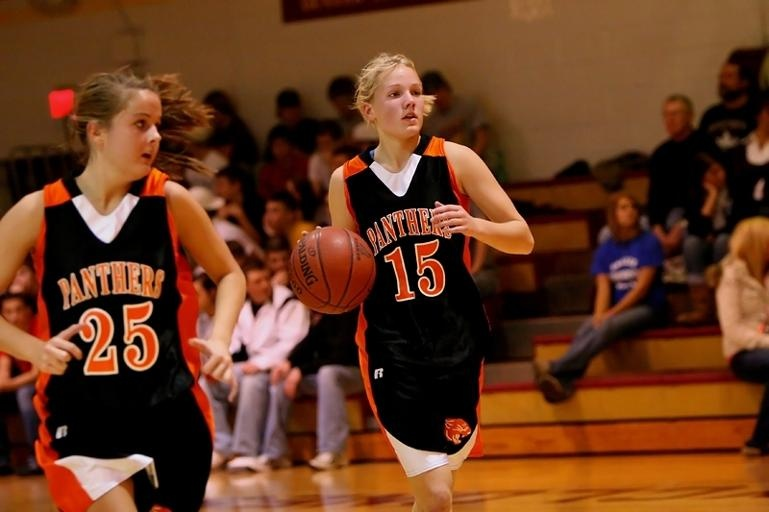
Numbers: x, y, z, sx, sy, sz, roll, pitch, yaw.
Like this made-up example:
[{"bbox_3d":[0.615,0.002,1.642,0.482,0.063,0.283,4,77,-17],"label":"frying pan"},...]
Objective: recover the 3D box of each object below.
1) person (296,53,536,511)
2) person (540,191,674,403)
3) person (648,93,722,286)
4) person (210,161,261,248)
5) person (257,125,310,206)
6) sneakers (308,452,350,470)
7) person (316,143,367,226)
[{"bbox_3d":[0.172,0.069,3.539,0.608,1.995,0.587,-8,4,-29],"label":"person"},{"bbox_3d":[1.401,0.279,5.161,0.801,1.318,0.365,-4,4,18],"label":"person"},{"bbox_3d":[1.826,-0.467,4.899,0.432,1.020,0.181,-4,4,20],"label":"person"},{"bbox_3d":[-1.321,-0.435,7.046,0.359,0.327,0.838,14,16,-22],"label":"person"},{"bbox_3d":[-0.978,-0.862,7.943,0.454,0.957,0.338,3,51,0],"label":"person"},{"bbox_3d":[-0.403,1.487,5.776,0.285,0.122,0.113,4,-4,-32],"label":"sneakers"},{"bbox_3d":[-0.431,-0.651,7.025,0.545,0.755,0.252,0,-5,37],"label":"person"}]
